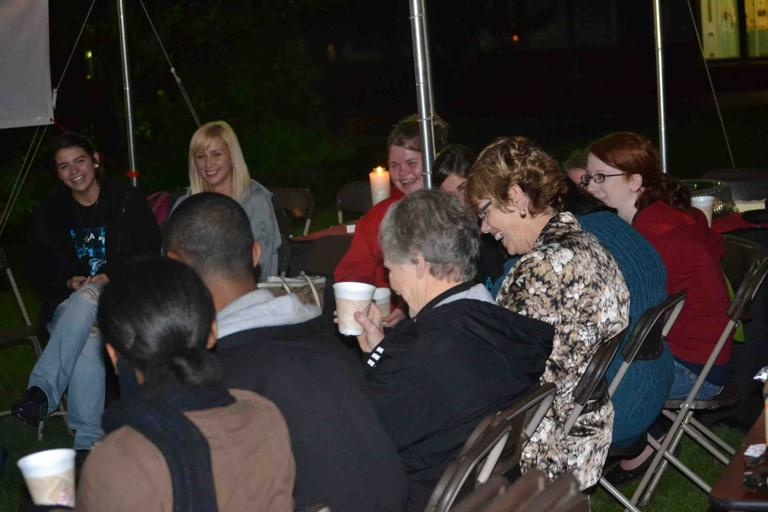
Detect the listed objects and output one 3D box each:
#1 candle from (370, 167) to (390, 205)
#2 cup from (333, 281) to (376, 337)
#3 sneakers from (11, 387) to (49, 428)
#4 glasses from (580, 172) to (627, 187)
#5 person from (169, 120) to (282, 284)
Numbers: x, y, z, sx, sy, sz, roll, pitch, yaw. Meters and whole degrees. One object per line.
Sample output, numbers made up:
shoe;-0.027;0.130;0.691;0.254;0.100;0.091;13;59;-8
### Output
candle;0.011;-0.633;5.878;0.221;0.382;0.227;1;-6;-5
cup;-0.118;0.217;2.627;0.199;0.212;0.211;1;-2;0
sneakers;-2.273;0.960;4.116;0.179;0.108;0.273;27;20;-17
glasses;1.357;-0.502;4.044;0.138;0.041;0.134;3;-6;-31
person;-1.332;-0.357;5.077;1.012;1.436;0.917;-3;11;-3
